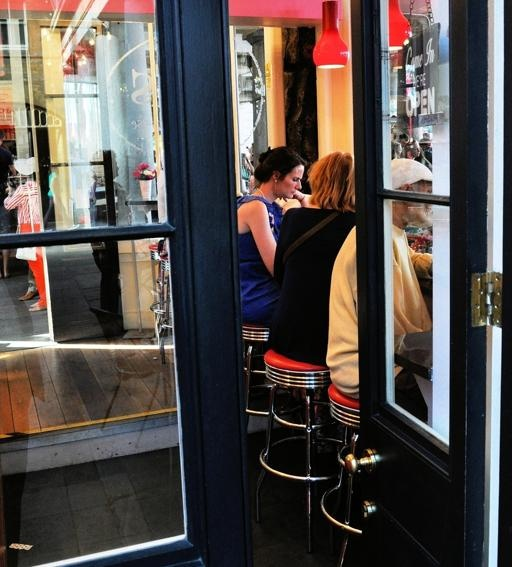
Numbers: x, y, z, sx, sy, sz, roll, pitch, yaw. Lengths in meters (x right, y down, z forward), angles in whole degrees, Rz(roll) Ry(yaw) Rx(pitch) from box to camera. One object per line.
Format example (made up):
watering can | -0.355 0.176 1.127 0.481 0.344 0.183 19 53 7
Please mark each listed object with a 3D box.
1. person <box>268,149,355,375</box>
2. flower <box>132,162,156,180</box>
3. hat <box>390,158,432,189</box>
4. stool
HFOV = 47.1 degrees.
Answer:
person | 0.229 -0.105 2.407 0.291 0.842 0.392 8 1 -15
flower | -0.186 -0.185 0.970 0.039 0.028 0.006 -15 16 -39
hat | 0.350 -0.253 1.343 0.065 0.040 0.048 9 29 37
stool | 0.182 0.575 2.759 0.607 1.052 0.648 10 17 25
